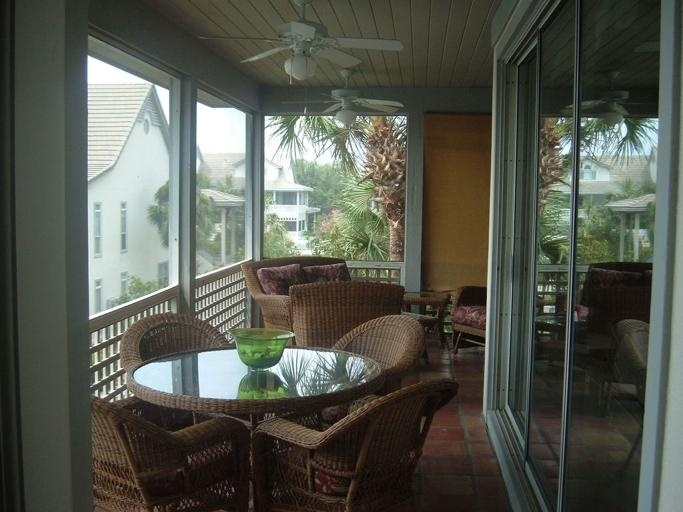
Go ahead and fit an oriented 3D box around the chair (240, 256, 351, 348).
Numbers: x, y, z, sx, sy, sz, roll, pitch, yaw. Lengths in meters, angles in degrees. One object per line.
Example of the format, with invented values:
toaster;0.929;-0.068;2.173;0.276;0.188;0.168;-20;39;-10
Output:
chair;-0.417;0.495;5.341;0.923;0.855;0.892;-6;9;10

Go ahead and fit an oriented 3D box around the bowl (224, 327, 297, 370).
bowl;-0.374;0.467;2.589;0.302;0.142;0.261;-1;-9;33

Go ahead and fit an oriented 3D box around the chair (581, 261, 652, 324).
chair;0.789;0.108;1.600;0.170;0.207;0.186;-4;-12;39

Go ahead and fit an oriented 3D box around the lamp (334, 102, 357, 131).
lamp;0.021;-1.370;5.316;0.246;0.265;0.242;0;-8;-10

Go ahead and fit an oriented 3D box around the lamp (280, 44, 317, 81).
lamp;-0.254;-1.221;3.457;0.174;0.186;0.204;1;8;4

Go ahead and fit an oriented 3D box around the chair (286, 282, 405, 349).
chair;0.060;0.340;3.927;0.557;0.609;0.595;0;5;-1

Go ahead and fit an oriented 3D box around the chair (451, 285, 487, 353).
chair;1.301;0.587;5.452;0.393;0.450;0.567;9;12;16
